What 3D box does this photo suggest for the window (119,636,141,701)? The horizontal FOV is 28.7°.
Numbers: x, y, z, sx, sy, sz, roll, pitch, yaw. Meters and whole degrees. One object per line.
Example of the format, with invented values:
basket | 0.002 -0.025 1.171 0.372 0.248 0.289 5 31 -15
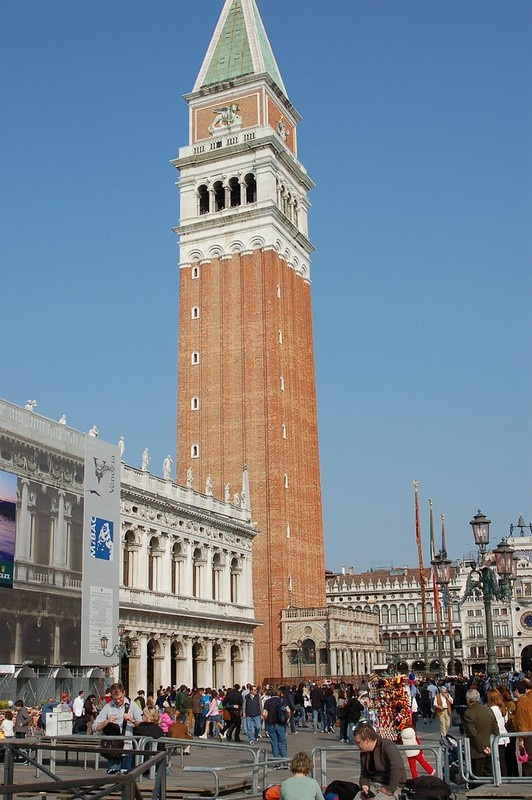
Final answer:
window | -5.793 11.157 43.790 1.029 2.496 1.477 -1 -13 13
